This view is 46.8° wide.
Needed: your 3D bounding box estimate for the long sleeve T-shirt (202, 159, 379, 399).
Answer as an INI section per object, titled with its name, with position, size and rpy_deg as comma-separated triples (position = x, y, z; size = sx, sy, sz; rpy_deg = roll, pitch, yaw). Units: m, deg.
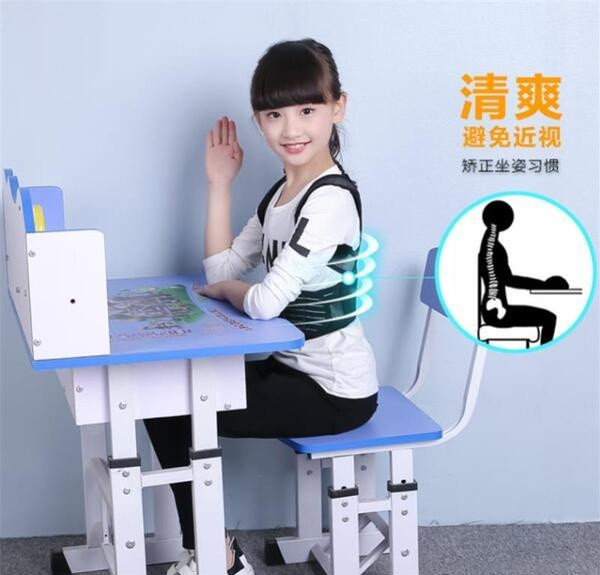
[long sleeve T-shirt]
position = -0.011, 0.012, 1.500
size = 0.332, 0.536, 0.365
rpy_deg = -3, 12, -20
